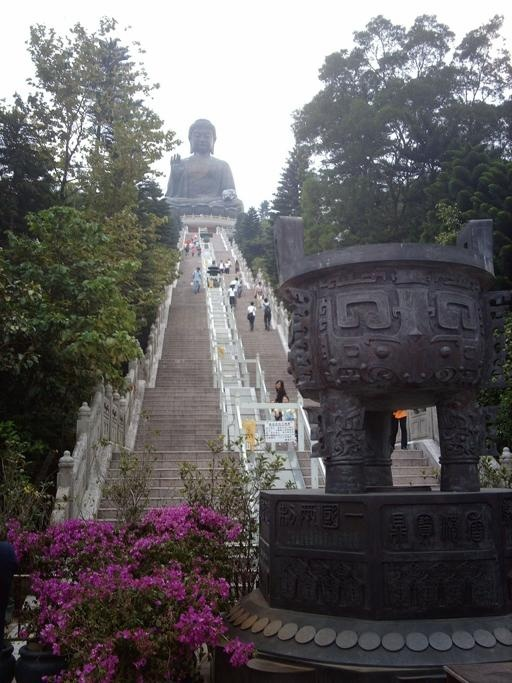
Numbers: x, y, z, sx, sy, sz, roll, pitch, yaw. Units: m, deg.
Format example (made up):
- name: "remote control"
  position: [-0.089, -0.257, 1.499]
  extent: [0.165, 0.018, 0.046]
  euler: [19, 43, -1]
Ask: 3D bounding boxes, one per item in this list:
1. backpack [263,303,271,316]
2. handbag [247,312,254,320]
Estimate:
- name: "backpack"
  position: [0.406, -1.183, 21.013]
  extent: [0.198, 0.412, 0.552]
  euler: [-2, -9, 10]
- name: "handbag"
  position: [-0.197, -0.947, 21.509]
  extent: [0.176, 0.311, 0.224]
  euler: [15, -15, 15]
